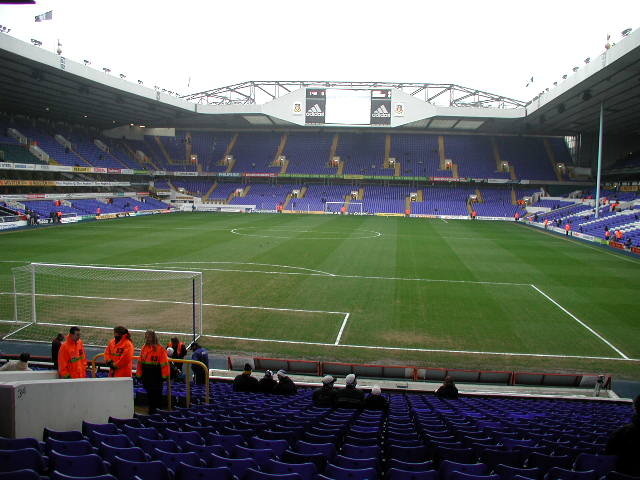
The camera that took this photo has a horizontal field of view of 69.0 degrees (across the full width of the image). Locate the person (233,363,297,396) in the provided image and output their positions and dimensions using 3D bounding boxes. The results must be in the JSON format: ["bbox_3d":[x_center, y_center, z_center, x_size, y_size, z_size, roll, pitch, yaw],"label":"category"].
[{"bbox_3d":[-1.126,2.984,9.754,1.103,0.449,0.736,7,-14,6],"label":"person"}]

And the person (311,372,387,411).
[{"bbox_3d":[0.613,3.068,9.420,1.374,0.525,1.659,1,-4,9],"label":"person"}]
